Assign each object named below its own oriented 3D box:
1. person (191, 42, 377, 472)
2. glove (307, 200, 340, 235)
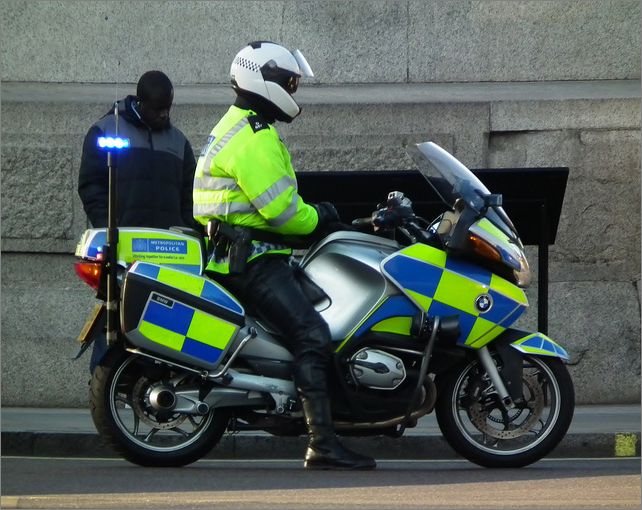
[{"bbox_3d":[-0.287,0.008,8.611,0.745,2.947,1.366,-11,20,-41],"label":"person"},{"bbox_3d":[0.009,-0.267,8.745,0.226,0.172,0.284,17,-22,-8],"label":"glove"}]
